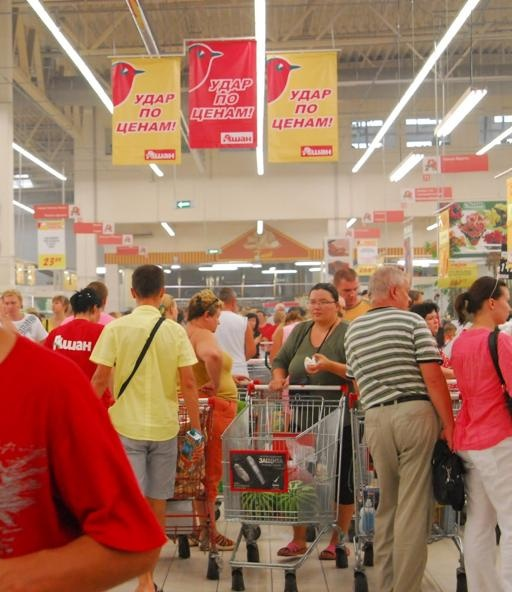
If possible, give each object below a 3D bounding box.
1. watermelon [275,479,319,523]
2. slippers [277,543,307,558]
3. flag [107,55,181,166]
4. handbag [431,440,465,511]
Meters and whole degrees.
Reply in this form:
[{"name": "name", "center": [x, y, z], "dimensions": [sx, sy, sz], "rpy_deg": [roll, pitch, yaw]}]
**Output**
[{"name": "watermelon", "center": [0.203, 0.996, 3.599], "dimensions": [0.229, 0.185, 0.191], "rpy_deg": [0, 2, -2]}, {"name": "slippers", "center": [0.202, 1.434, 4.107], "dimensions": [0.177, 0.063, 0.068], "rpy_deg": [11, -16, -41]}, {"name": "flag", "center": [-1.200, -2.049, 8.153], "dimensions": [0.677, 1.260, 0.360], "rpy_deg": [-1, 7, 1]}, {"name": "handbag", "center": [0.827, 0.759, 3.123], "dimensions": [0.127, 0.292, 0.303], "rpy_deg": [-1, -7, 9]}]
